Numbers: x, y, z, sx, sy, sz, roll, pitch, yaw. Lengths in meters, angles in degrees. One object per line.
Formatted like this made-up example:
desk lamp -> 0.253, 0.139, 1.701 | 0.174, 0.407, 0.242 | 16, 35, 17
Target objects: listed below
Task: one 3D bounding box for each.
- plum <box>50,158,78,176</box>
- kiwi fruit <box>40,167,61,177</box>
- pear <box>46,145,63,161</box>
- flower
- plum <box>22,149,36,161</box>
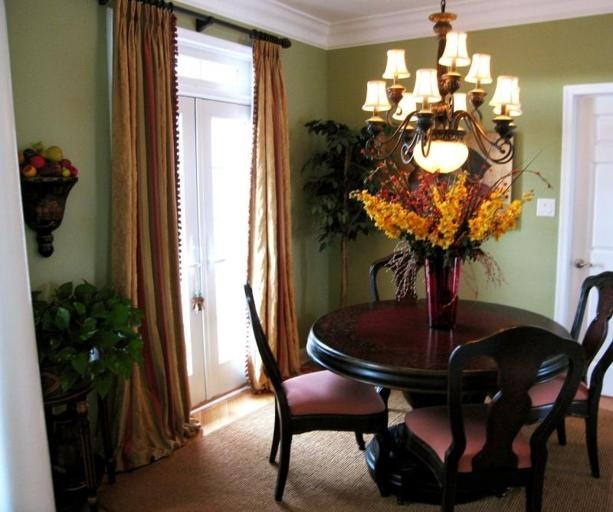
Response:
plum -> -1.276, -0.470, 2.994 | 0.073, 0.051, 0.106 | 35, 13, 13
kiwi fruit -> -1.325, -0.444, 2.930 | 0.064, 0.041, 0.051 | -6, 9, -25
pear -> -1.320, -0.539, 2.955 | 0.080, 0.072, 0.066 | -2, -12, -10
flower -> 0.684, -0.183, 3.247 | 1.045, 1.018, 1.123 | -4, 6, -21
plum -> -1.423, -0.524, 2.891 | 0.076, 0.066, 0.061 | -6, 12, -25
